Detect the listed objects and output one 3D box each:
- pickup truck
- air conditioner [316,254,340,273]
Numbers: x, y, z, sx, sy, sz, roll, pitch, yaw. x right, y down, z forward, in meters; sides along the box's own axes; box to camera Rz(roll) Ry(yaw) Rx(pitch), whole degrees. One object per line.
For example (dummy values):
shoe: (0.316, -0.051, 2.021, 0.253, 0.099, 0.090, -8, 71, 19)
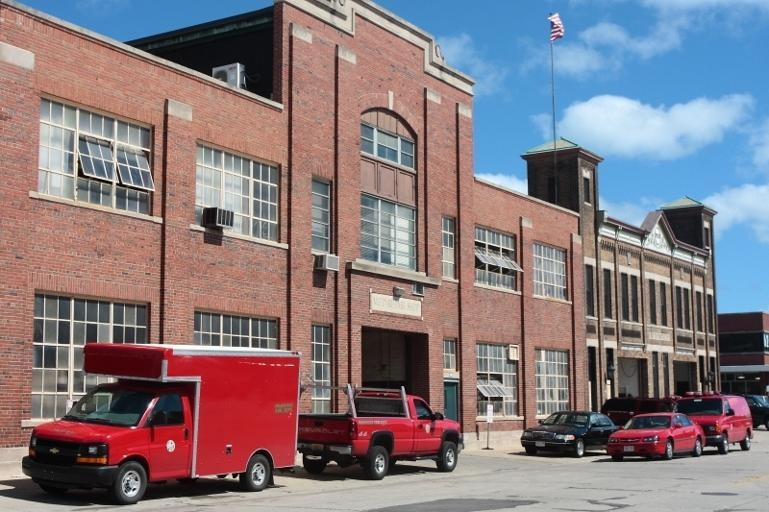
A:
pickup truck: (-0.051, 5.959, 32.095, 5.519, 3.019, 1.830, 14, -23, -42)
air conditioner: (-2.115, 0.251, 36.990, 0.695, 0.557, 1.061, -6, -9, 19)
